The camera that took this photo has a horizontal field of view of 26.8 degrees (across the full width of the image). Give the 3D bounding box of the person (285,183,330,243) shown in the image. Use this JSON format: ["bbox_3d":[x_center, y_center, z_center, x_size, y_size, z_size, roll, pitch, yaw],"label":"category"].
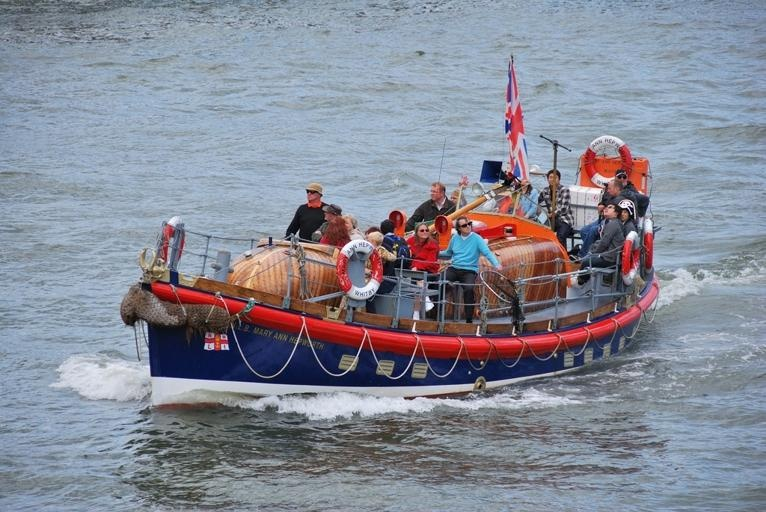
[{"bbox_3d":[-1.784,-1.015,41.432,0.930,1.533,1.341,8,-3,11],"label":"person"}]

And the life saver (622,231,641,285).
[{"bbox_3d":[6.423,0.086,42.196,0.393,1.073,1.295,7,-1,18],"label":"life saver"}]

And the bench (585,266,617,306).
[{"bbox_3d":[5.754,0.759,42.750,0.761,0.661,0.758,-16,-11,43],"label":"bench"}]

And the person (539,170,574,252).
[{"bbox_3d":[4.398,-1.299,44.014,1.033,2.001,0.999,4,2,34],"label":"person"}]

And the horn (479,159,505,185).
[{"bbox_3d":[2.869,-2.214,43.336,0.805,0.584,0.665,1,13,4],"label":"horn"}]

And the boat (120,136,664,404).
[{"bbox_3d":[0.417,1.383,41.740,14.145,4.262,5.445,-8,25,-20],"label":"boat"}]

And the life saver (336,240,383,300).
[{"bbox_3d":[-0.572,0.376,39.462,1.139,1.544,0.492,-9,22,-28],"label":"life saver"}]

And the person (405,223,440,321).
[{"bbox_3d":[0.812,0.270,40.508,0.975,2.030,1.376,1,10,10],"label":"person"}]

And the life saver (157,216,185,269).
[{"bbox_3d":[-5.193,-0.304,39.153,0.510,1.237,0.709,5,19,11],"label":"life saver"}]

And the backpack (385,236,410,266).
[{"bbox_3d":[0.289,-0.090,40.241,0.528,0.751,0.590,-16,13,7],"label":"backpack"}]
